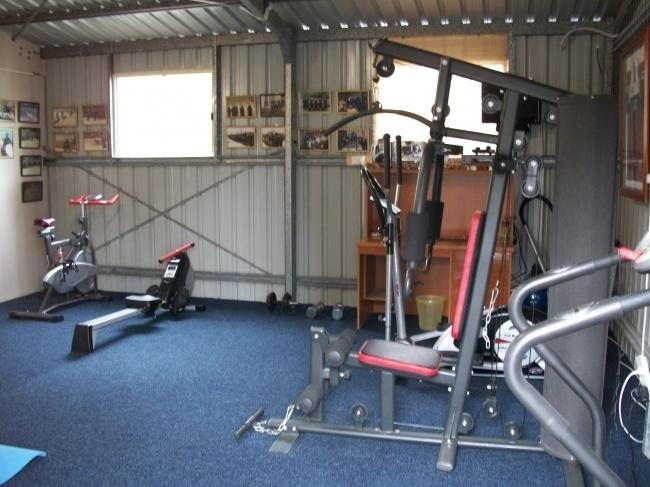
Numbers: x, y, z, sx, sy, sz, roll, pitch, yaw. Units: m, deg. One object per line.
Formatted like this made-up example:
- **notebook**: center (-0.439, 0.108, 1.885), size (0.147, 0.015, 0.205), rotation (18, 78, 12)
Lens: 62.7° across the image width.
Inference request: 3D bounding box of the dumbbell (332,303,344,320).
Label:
- **dumbbell**: center (0.164, 0.885, 6.943), size (0.148, 0.181, 0.280), rotation (0, 11, 3)

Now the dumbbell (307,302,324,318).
- **dumbbell**: center (-0.160, 0.886, 6.956), size (0.168, 0.159, 0.337), rotation (4, 12, 23)

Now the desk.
- **desk**: center (1.143, 0.016, 5.335), size (1.600, 1.939, 0.574), rotation (1, 3, 17)
